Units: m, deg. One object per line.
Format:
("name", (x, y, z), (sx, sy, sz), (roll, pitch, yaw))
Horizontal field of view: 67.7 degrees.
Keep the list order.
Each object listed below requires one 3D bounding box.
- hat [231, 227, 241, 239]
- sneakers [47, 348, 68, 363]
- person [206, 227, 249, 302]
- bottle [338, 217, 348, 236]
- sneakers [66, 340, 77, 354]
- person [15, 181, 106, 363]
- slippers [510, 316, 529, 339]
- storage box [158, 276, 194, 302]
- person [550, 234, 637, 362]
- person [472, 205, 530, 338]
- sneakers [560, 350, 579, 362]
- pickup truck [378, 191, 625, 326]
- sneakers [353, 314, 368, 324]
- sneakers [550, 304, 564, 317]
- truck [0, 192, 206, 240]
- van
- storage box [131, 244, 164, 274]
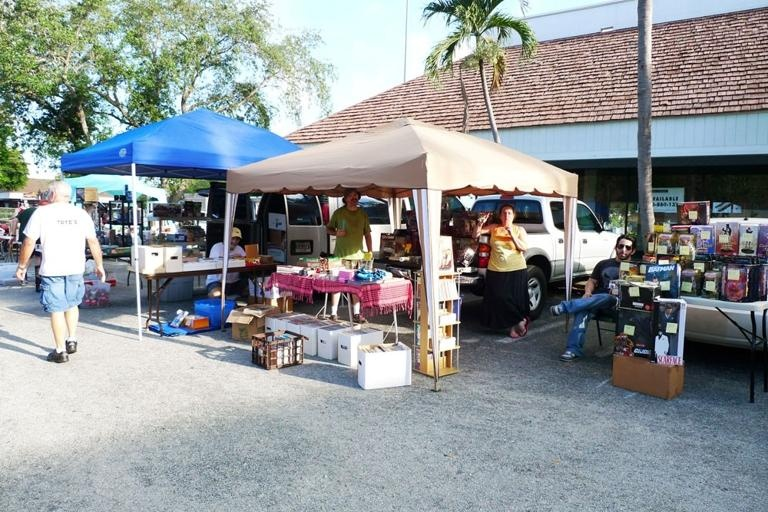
("hat", (-2.691, -0.438, 10.478), (0.154, 0.119, 0.219), (17, -11, -34))
("sneakers", (-4.694, 1.434, 8.268), (0.305, 0.130, 0.138), (6, 8, 33))
("person", (-2.869, 0.245, 10.729), (0.774, 1.534, 0.812), (5, -4, -32))
("bottle", (-0.703, -0.515, 9.917), (0.091, 0.269, 0.200), (7, 3, -30))
("sneakers", (-4.608, 1.341, 8.492), (0.133, 0.150, 0.188), (-2, 9, -25))
("person", (-4.747, 0.199, 8.486), (1.112, 2.618, 0.694), (-3, 4, -31))
("slippers", (2.313, 1.254, 9.642), (0.108, 0.438, 0.197), (26, -23, -14))
("storage box", (-4.206, 0.764, 11.803), (0.677, 0.640, 0.676), (-1, 5, -35))
("person", (3.101, 0.784, 8.832), (1.074, 1.505, 0.678), (-1, 3, 5))
("person", (1.971, 0.183, 9.510), (0.797, 2.000, 0.364), (0, 3, 16))
("sneakers", (2.777, 1.492, 8.622), (0.122, 0.122, 0.312), (-3, -7, 39))
("pickup truck", (2.449, -0.291, 11.339), (4.194, 1.745, 2.316), (-10, 11, -43))
("sneakers", (-0.401, 1.063, 9.837), (0.341, 0.240, 0.120), (1, 3, 43))
("sneakers", (2.682, 0.805, 8.857), (0.161, 0.214, 0.611), (0, 4, 15))
("truck", (-6.953, -1.043, 14.784), (2.432, 1.414, 2.417), (-1, -2, 32))
("van", (-1.314, -0.746, 12.190), (3.969, 2.068, 2.416), (-6, 8, -34))
("storage box", (-3.781, 0.048, 9.336), (0.426, 0.430, 0.436), (0, 0, 32))
